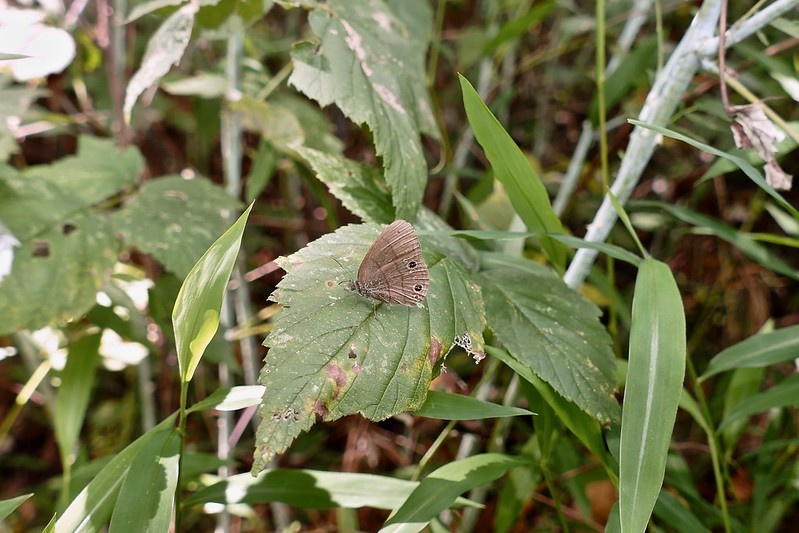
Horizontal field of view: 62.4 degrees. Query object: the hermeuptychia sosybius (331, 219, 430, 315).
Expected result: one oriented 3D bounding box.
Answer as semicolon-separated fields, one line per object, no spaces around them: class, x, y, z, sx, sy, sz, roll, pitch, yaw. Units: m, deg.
hermeuptychia sosybius;-0.036;-0.017;1.293;0.164;0.187;0.126;2;44;-2
